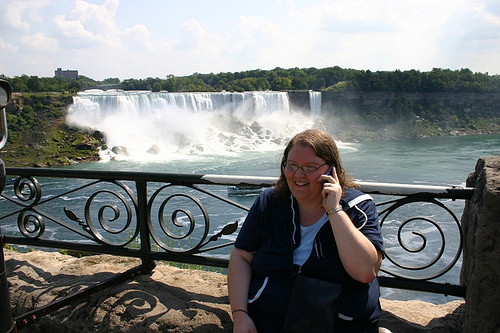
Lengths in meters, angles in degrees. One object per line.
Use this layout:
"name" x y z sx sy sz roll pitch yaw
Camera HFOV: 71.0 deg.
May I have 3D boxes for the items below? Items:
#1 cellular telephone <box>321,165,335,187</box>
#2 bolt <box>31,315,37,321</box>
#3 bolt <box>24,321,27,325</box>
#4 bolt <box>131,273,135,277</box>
"cellular telephone" 0.450 0.054 2.012 0.029 0.123 0.065 37 -1 5
"bolt" -1.498 1.048 2.430 0.031 0.013 0.031 6 -3 -25
"bolt" -1.535 1.066 2.396 0.009 0.007 0.032 -2 33 -15
"bolt" -0.920 0.850 2.759 0.027 0.031 0.005 -3 7 -41
